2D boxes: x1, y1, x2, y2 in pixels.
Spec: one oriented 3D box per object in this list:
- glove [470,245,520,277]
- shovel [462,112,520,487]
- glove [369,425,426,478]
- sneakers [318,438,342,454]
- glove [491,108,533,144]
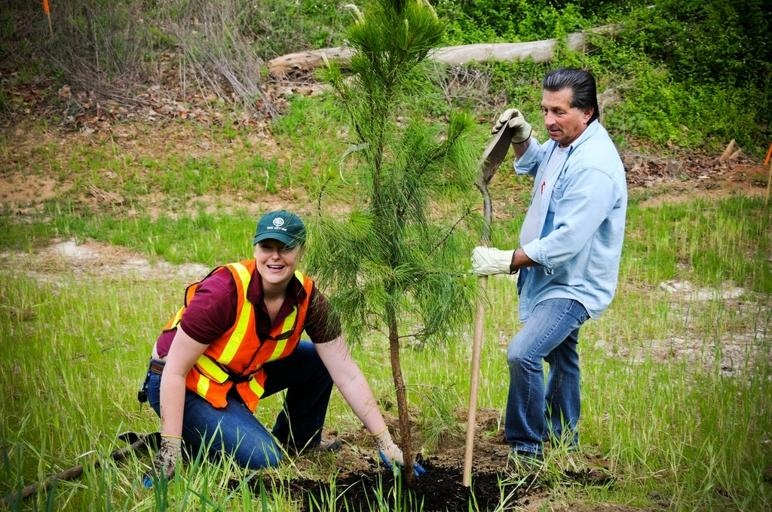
[{"bbox_3d":[1.084,0.051,9.571,0.316,0.323,0.152,-1,29,9],"label":"glove"},{"bbox_3d":[1.048,0.452,9.637,0.461,3.800,0.753,1,-5,8],"label":"shovel"},{"bbox_3d":[0.116,2.038,9.687,0.486,0.148,0.222,50,-2,22],"label":"glove"},{"bbox_3d":[-0.599,2.022,10.019,0.189,0.104,0.120,3,6,-2],"label":"sneakers"},{"bbox_3d":[1.339,-1.378,10.011,0.237,0.294,0.385,-15,-53,12],"label":"glove"}]
